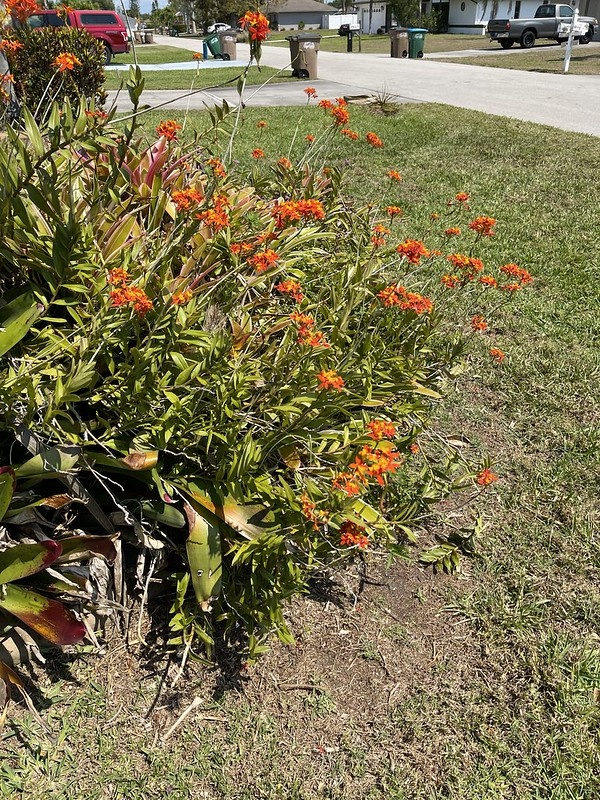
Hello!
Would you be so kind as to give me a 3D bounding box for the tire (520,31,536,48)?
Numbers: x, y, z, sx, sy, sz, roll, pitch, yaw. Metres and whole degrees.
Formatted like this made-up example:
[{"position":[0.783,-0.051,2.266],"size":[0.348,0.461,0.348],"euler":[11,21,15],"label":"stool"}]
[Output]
[{"position":[10.954,-17.511,30.692],"size":[0.704,0.682,0.245],"euler":[1,23,-29],"label":"tire"}]
